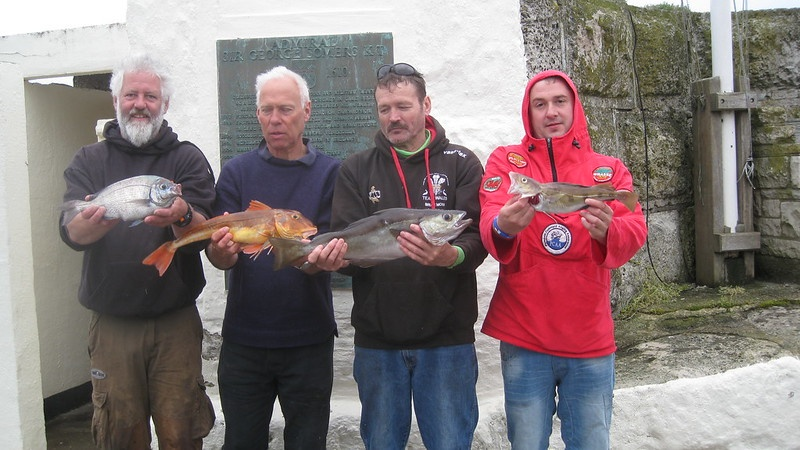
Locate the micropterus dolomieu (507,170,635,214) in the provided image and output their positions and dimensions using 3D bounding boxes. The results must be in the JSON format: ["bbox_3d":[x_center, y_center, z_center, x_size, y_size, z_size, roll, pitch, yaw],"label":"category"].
[{"bbox_3d":[1.658,-0.318,6.429,1.225,0.427,0.199,-4,6,-6],"label":"micropterus dolomieu"}]

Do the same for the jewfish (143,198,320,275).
[{"bbox_3d":[-1.560,0.105,7.132,2.044,0.794,0.672,-17,7,0],"label":"jewfish"}]

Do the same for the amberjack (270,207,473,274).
[{"bbox_3d":[-0.228,0.162,6.687,1.444,0.421,0.337,-11,11,2],"label":"amberjack"}]

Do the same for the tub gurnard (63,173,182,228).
[{"bbox_3d":[-2.777,-0.231,6.707,1.154,0.483,0.247,-2,6,9],"label":"tub gurnard"}]

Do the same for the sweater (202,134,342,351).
[{"bbox_3d":[-1.398,0.305,7.418,0.925,2.485,1.143,1,1,-11],"label":"sweater"}]
